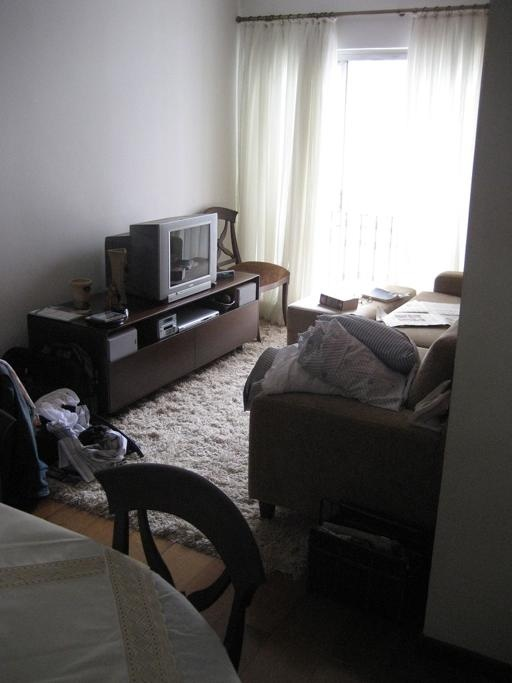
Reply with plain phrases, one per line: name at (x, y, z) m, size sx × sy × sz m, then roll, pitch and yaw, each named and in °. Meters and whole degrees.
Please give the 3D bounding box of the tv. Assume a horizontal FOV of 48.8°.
tv at (-0.577, -0.556, 3.567) m, size 0.473 × 0.496 × 0.600 m, roll 12°, pitch 23°, yaw 21°

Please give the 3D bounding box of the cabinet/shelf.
cabinet/shelf at (-0.542, -0.094, 3.590) m, size 0.428 × 0.484 × 1.358 m, roll 14°, pitch 25°, yaw 33°

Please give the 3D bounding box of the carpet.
carpet at (-0.239, 0.507, 2.791) m, size 0.631 × 0.091 × 1.690 m, roll 13°, pitch 25°, yaw 17°

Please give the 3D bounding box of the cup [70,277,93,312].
cup at (-0.984, -0.270, 3.191) m, size 0.100 × 0.164 × 0.177 m, roll -2°, pitch 12°, yaw -17°

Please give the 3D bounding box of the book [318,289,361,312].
book at (0.565, -0.270, 3.743) m, size 0.171 × 0.058 × 0.171 m, roll 9°, pitch 16°, yaw 23°

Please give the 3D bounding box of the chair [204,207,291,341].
chair at (0.001, -0.613, 4.697) m, size 0.645 × 0.946 × 0.618 m, roll -8°, pitch 20°, yaw -25°

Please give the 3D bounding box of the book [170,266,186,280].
book at (-0.470, -0.422, 3.427) m, size 0.070 × 0.035 × 0.098 m, roll -2°, pitch 30°, yaw -5°

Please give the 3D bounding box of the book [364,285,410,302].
book at (0.976, -0.350, 4.075) m, size 0.158 × 0.073 × 0.291 m, roll 12°, pitch 22°, yaw 34°
